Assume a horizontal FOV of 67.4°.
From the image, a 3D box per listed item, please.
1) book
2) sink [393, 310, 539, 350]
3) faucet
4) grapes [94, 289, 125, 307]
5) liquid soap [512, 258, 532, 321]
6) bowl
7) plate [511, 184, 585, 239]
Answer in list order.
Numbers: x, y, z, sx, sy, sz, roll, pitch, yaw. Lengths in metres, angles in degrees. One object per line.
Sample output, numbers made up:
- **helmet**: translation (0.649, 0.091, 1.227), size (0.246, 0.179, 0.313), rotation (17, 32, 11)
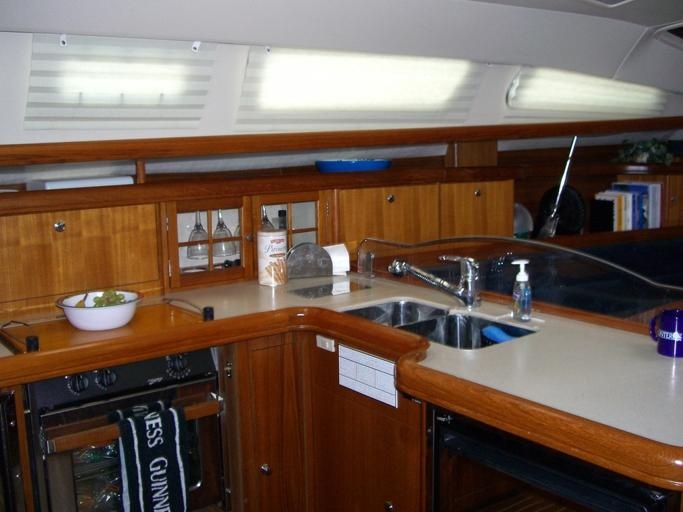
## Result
- **book**: translation (2.121, -0.360, 3.753), size (0.285, 0.324, 0.397), rotation (-14, 17, -40)
- **sink**: translation (0.398, 0.265, 1.633), size (0.407, 0.121, 0.155), rotation (7, 16, 34)
- **faucet**: translation (0.351, 0.101, 1.861), size (0.080, 0.167, 0.330), rotation (-18, 31, -42)
- **grapes**: translation (-0.770, 0.132, 1.687), size (0.068, 0.030, 0.069), rotation (0, 1, 43)
- **liquid soap**: translation (0.585, 0.097, 1.640), size (0.058, 0.196, 0.153), rotation (2, 14, 20)
- **bowl**: translation (-0.768, 0.151, 1.694), size (0.180, 0.065, 0.175), rotation (0, 1, 0)
- **plate**: translation (1.439, -0.278, 3.414), size (0.493, 0.454, 0.117), rotation (12, 15, 28)
